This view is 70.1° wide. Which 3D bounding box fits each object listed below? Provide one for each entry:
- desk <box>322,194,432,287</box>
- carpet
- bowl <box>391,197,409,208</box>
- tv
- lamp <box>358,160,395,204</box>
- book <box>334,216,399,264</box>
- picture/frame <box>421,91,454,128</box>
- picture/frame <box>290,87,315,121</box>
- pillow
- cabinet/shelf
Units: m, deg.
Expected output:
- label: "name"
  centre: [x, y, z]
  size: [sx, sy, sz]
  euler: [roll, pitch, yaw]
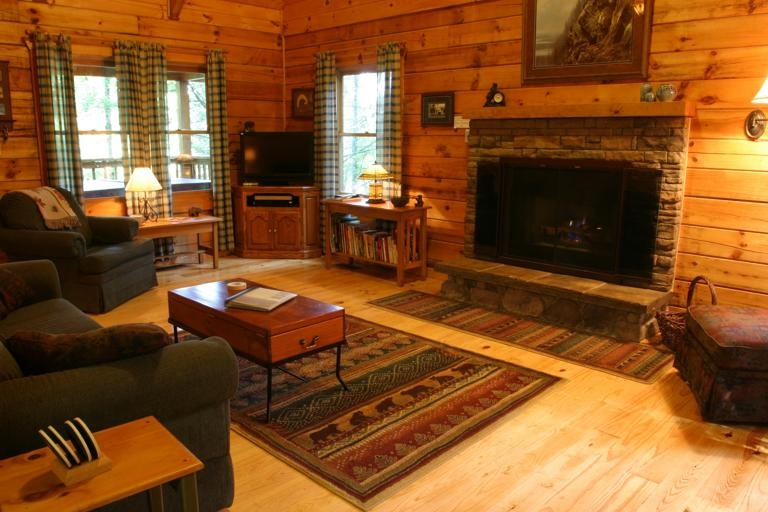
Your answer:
- label: "desk"
  centre: [-0.115, -0.232, 6.712]
  size: [0.621, 0.689, 1.435]
  euler: [2, 8, -41]
- label: "carpet"
  centre: [0.215, 0.991, 3.888]
  size: [1.721, 0.010, 1.808]
  euler: [-10, 15, -39]
- label: "bowl"
  centre: [0.176, -0.605, 6.185]
  size: [0.177, 0.071, 0.155]
  euler: [2, 6, 25]
- label: "tv"
  centre: [-1.436, -1.299, 7.271]
  size: [1.212, 0.527, 0.250]
  euler: [0, 4, -4]
- label: "lamp"
  centre: [-0.087, -0.857, 6.452]
  size: [0.373, 0.459, 0.511]
  euler: [-2, 16, 1]
- label: "book"
  centre: [-0.206, -0.208, 6.618]
  size: [0.786, 0.250, 0.311]
  euler: [11, 16, 41]
- label: "picture/frame"
  centre: [0.633, -1.680, 6.264]
  size: [0.611, 0.365, 0.068]
  euler: [8, 12, 33]
- label: "picture/frame"
  centre: [-1.130, -2.116, 7.627]
  size: [0.406, 0.427, 0.109]
  euler: [12, 25, 40]
- label: "pillow"
  centre: [-1.458, 0.440, 2.670]
  size: [0.463, 0.116, 0.414]
  euler: [-9, 2, -27]
- label: "cabinet/shelf"
  centre: [-1.415, -0.460, 7.212]
  size: [1.522, 0.794, 0.437]
  euler: [0, 10, 2]
